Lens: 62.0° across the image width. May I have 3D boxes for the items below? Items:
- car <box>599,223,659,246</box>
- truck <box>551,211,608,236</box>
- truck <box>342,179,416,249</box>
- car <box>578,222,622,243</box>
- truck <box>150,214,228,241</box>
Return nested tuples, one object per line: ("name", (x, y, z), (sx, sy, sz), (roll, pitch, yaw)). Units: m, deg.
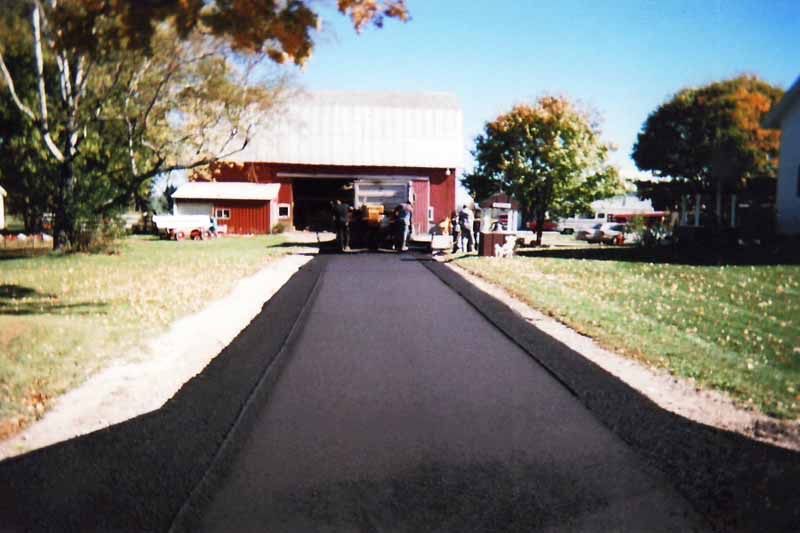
("car", (12.647, -1.648, 36.893), (2.316, 0.913, 1.230), (-7, 13, -25))
("truck", (14.459, -3.269, 53.500), (3.820, 2.359, 2.656), (-1, 7, 11))
("truck", (-0.930, -2.451, 30.457), (2.122, 2.433, 3.463), (0, 0, -3))
("car", (14.049, -2.231, 46.584), (1.779, 1.383, 3.647), (-1, 2, 21))
("truck", (-12.744, -2.327, 40.716), (2.369, 1.644, 6.942), (2, 9, 6))
